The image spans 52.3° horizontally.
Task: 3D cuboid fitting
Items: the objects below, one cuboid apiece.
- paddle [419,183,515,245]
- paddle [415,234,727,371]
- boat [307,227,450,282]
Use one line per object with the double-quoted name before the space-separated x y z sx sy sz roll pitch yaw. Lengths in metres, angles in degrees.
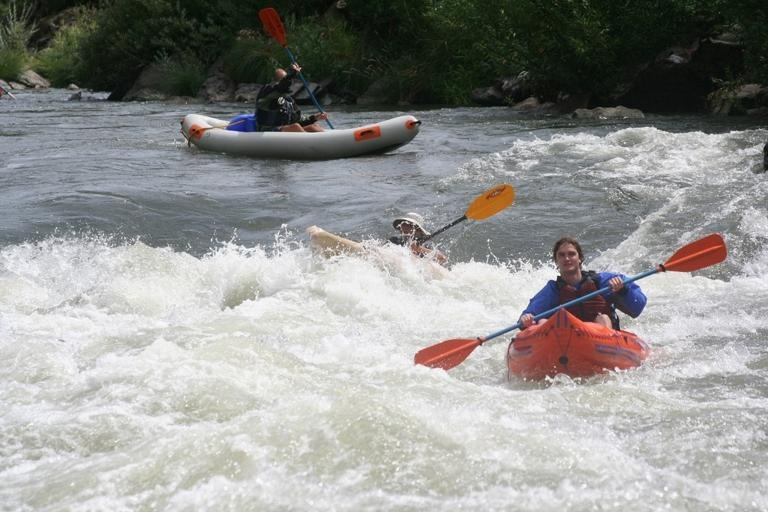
"paddle" 0.928 -0.469 10.331 0.069 1.592 0.228 37 31 -32
"paddle" 2.060 0.541 8.454 3.731 0.442 0.146 -20 -10 -2
"boat" -0.076 0.006 9.573 1.512 0.248 0.317 14 45 1
